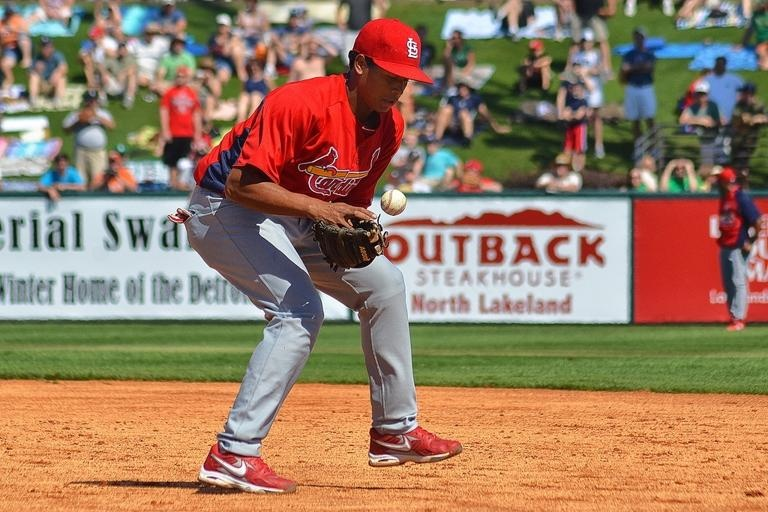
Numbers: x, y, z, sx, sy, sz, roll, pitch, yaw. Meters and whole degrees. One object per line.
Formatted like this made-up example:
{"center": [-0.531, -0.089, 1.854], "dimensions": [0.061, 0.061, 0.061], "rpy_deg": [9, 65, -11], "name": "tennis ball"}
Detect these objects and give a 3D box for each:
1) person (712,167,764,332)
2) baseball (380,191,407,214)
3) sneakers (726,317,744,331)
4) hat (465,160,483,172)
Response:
{"center": [4.963, 0.045, 23.802], "dimensions": [0.601, 1.995, 0.182], "rpy_deg": [1, 2, 11], "name": "person"}
{"center": [0.096, -0.613, 19.772], "dimensions": [0.289, 0.271, 0.272], "rpy_deg": [15, 37, -12], "name": "baseball"}
{"center": [4.907, 0.972, 23.778], "dimensions": [0.225, 0.121, 0.088], "rpy_deg": [4, 28, -17], "name": "sneakers"}
{"center": [1.407, -1.398, 27.043], "dimensions": [0.224, 0.179, 0.245], "rpy_deg": [10, 16, 23], "name": "hat"}
